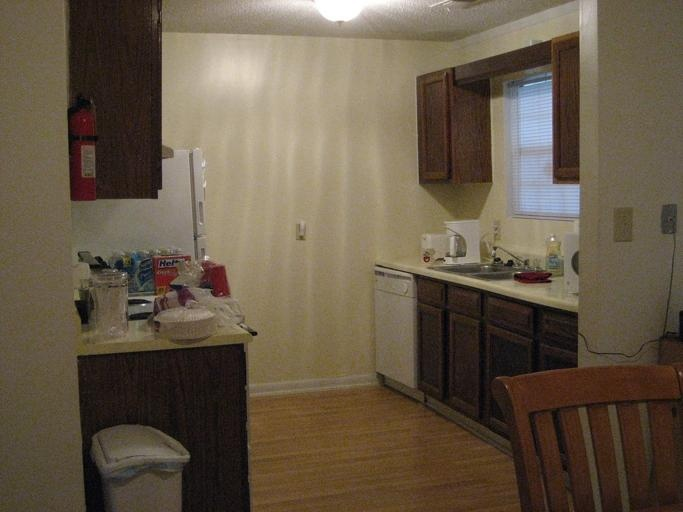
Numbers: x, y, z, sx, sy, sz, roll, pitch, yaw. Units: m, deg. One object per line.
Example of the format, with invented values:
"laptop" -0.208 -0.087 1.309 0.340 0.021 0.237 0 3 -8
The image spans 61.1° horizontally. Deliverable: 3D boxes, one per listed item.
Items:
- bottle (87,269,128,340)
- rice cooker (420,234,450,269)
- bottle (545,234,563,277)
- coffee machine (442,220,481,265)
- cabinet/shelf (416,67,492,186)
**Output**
"bottle" -1.033 0.209 2.513 0.195 0.277 0.133 3 9 25
"rice cooker" 0.696 -0.060 4.625 0.255 0.266 0.156 -3 6 -25
"bottle" 1.472 -0.015 4.038 0.106 0.262 0.320 2 9 19
"coffee machine" 0.981 -0.124 4.668 0.344 0.458 0.228 0 4 -5
"cabinet/shelf" 0.914 -1.053 4.736 0.609 0.899 0.339 0 8 9
